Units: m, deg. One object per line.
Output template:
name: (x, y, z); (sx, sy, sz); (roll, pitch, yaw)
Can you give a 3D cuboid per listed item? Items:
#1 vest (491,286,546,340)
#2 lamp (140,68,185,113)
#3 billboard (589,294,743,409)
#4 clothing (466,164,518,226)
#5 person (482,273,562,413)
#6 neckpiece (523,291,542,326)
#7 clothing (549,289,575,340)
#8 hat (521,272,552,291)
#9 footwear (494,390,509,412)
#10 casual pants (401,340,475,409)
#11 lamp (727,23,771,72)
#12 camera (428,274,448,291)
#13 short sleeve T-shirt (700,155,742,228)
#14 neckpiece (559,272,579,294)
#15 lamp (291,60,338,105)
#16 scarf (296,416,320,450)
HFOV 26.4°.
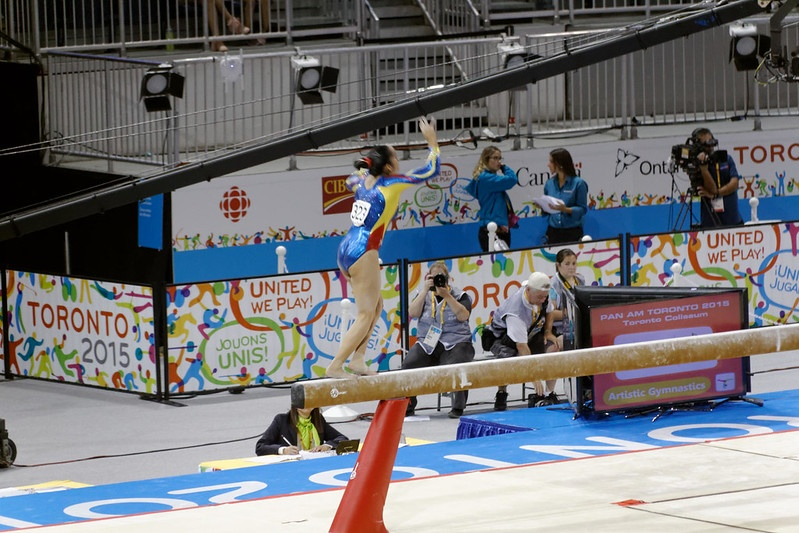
vest: (1.438, 0.605, 20.372); (0.285, 0.461, 0.360); (31, -42, -7)
lamp: (-3.054, -2.253, 21.738); (0.504, 0.541, 0.227); (2, 9, 3)
billboard: (2.916, 0.933, 18.663); (1.828, 1.307, 0.203); (-6, 9, -5)
clothing: (1.224, -0.951, 22.940); (0.447, 1.031, 0.534); (-12, 19, -19)
person: (1.483, 0.913, 20.398); (0.927, 1.743, 1.143); (3, 17, 10)
neckpiece: (1.601, 0.539, 20.252); (0.269, 0.475, 0.231); (-3, 5, 4)
clothing: (1.953, 0.670, 20.399); (0.343, 0.548, 0.344); (-13, 7, 11)
hat: (1.632, 0.202, 20.140); (0.309, 0.214, 0.317); (-3, 5, 4)
footwear: (1.216, 1.636, 20.289); (0.214, 0.249, 0.624); (-1, 2, 5)
casual pants: (0.384, 1.317, 20.110); (0.943, 0.962, 0.742); (0, -4, 20)
lamp: (4.675, -2.948, 22.889); (0.564, 0.584, 0.581); (1, 0, -2)
camera: (0.455, 0.202, 20.161); (0.187, 0.126, 0.209); (0, 1, 0)
short sleeve T-shirt: (4.393, -1.073, 23.365); (0.576, 1.245, 0.393); (-8, 31, 2)
neckpiece: (2.069, 0.216, 20.531); (0.182, 0.252, 0.266); (-5, -18, -1)
lamp: (-1.143, -2.419, 22.110); (0.431, 0.402, 0.439); (-2, -18, 28)
scarf: (-0.999, 1.837, 18.351); (0.217, 0.354, 0.114); (-8, -6, -21)
